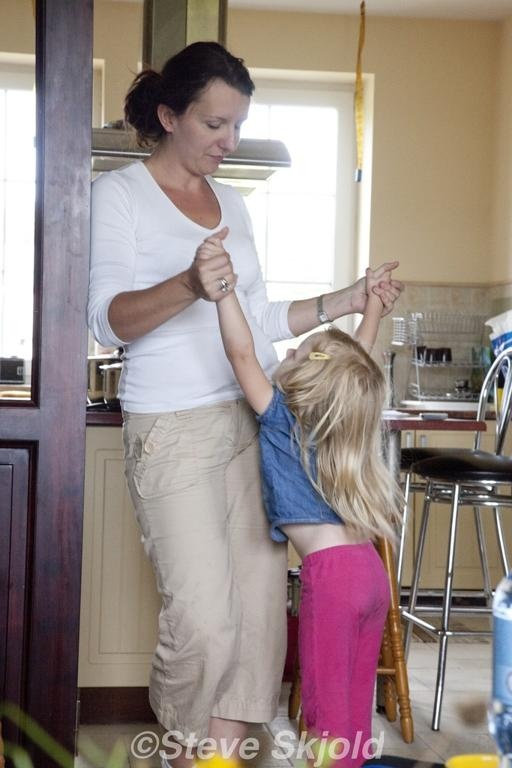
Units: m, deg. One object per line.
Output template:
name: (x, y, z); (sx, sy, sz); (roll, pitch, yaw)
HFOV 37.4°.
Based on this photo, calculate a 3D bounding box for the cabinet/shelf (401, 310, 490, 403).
cabinet/shelf: (1.026, -0.142, 4.194); (0.534, 0.582, 0.316); (1, -4, -8)

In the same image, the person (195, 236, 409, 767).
person: (0.094, 0.241, 1.316); (0.261, 0.793, 0.343); (1, 5, 19)
